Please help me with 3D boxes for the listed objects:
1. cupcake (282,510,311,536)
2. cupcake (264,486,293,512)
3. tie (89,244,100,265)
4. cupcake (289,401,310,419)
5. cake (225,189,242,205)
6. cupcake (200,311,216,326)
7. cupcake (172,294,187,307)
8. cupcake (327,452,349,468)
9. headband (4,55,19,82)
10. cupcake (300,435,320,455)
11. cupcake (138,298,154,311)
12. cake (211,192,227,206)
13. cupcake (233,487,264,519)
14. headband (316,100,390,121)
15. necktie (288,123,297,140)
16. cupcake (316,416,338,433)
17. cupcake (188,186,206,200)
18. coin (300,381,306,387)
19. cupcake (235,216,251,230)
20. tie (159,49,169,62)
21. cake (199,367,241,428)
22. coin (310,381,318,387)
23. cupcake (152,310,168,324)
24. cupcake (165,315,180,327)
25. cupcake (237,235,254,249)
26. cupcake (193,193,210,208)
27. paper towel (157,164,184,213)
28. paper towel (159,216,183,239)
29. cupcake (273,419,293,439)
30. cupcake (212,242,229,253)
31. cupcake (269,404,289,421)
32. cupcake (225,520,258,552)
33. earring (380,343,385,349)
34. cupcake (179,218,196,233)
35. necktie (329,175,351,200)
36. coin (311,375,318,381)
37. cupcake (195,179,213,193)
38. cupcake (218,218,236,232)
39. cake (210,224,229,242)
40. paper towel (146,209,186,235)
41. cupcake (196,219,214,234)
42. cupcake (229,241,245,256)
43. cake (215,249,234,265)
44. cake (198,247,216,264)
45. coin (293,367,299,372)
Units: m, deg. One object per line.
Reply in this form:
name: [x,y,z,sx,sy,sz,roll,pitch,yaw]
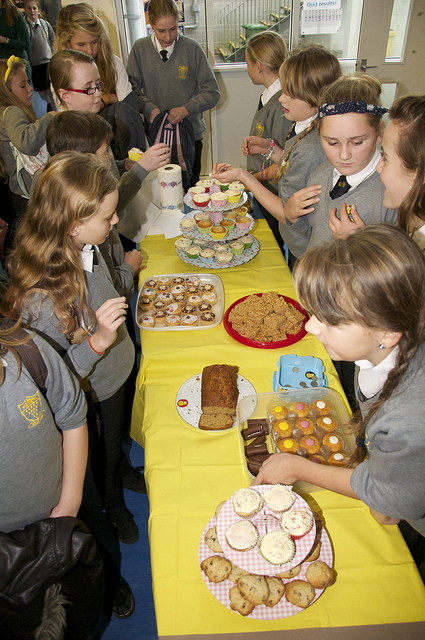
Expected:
cupcake: [0.219,0.529,1.212,0.073,0.018,0.063,5,33,7]
cupcake: [0.180,0.486,1.267,0.071,0.020,0.067,-14,35,-20]
tie: [-0.457,-0.248,1.806,0.039,0.056,0.020,-16,2,23]
cupcake: [0.303,0.304,1.611,0.062,0.023,0.069,-24,40,-33]
cake: [0.128,-0.760,2.878,0.093,0.064,0.098,-5,69,9]
cupcake: [-0.028,-0.011,2.226,0.057,0.055,0.060,-3,47,0]
cupcake: [-0.161,-0.107,2.344,0.058,0.038,0.060,21,46,9]
cupcake: [0.388,0.434,1.438,0.059,0.034,0.063,5,33,8]
headband: [-1.276,-1.603,2.949,0.074,0.127,0.311,-8,33,-11]
cupcake: [0.312,0.399,1.490,0.062,0.024,0.066,3,33,5]
cupcake: [-0.338,-0.081,2.351,0.077,0.038,0.070,-6,33,-9]
cake: [0.033,-0.746,2.799,0.083,0.043,0.083,-28,56,-15]
cupcake: [0.096,0.500,1.277,0.085,0.041,0.076,-11,34,-16]
headband: [0.544,-0.818,1.813,0.258,0.083,0.120,7,33,11]
necktie: [0.466,-1.086,2.684,0.036,0.051,0.022,8,28,3]
cupcake: [0.384,0.342,1.555,0.055,0.024,0.066,-27,41,-36]
cupcake: [-0.097,-0.804,2.937,0.082,0.033,0.093,-4,49,2]
coin: [0.356,0.250,1.827,0.012,0.003,0.013,-5,42,5]
cupcake: [0.179,-0.583,2.779,0.098,0.036,0.117,4,33,6]
tie: [-0.437,-2.393,4.181,0.056,0.080,0.020,3,42,6]
cake: [0.021,0.280,1.782,0.149,0.068,0.298,7,49,1]
coin: [0.398,0.248,1.825,0.030,0.004,0.029,0,33,0]
cupcake: [-0.263,-0.026,2.252,0.060,0.054,0.062,-5,45,-7]
cupcake: [-0.196,0.002,2.249,0.070,0.025,0.102,-2,33,-4]
cupcake: [0.204,-0.473,2.747,0.076,0.053,0.079,-9,48,3]
cupcake: [-0.071,-0.750,2.891,0.102,0.061,0.159,0,32,-1]
paper towel: [-0.286,-0.891,3.169,0.171,0.307,0.176,-6,37,-1]
paper towel: [-0.267,-0.603,3.013,0.158,0.038,0.159,-16,55,-11]
cupcake: [0.235,0.363,1.546,0.061,0.025,0.062,5,33,8]
cupcake: [0.048,-0.422,2.691,0.091,0.038,0.073,0,32,-1]
cupcake: [0.233,0.315,1.607,0.066,0.027,0.064,-16,36,-23]
cupcake: [0.076,0.565,1.213,0.079,0.025,0.072,-16,36,-23]
earring: [0.410,0.062,1.120,0.010,0.012,0.011,-8,53,18]
cupcake: [-0.149,-0.566,2.772,0.095,0.036,0.156,0,33,0]
necktie: [0.542,-0.566,1.977,0.026,0.104,0.097,-19,36,-27]
coin: [0.406,0.228,1.848,0.025,0.007,0.035,9,34,14]
cupcake: [-0.046,-0.894,3.071,0.094,0.043,0.112,-8,55,6]
cupcake: [0.082,-0.583,2.777,0.086,0.057,0.093,0,42,3]
cake: [0.029,-0.520,2.677,0.093,0.071,0.104,1,43,1]
paper towel: [-0.349,-0.658,3.106,0.235,0.010,0.197,-23,51,-17]
cupcake: [-0.043,-0.543,2.721,0.092,0.041,0.105,-1,32,-2]
cupcake: [0.138,-0.418,2.658,0.072,0.048,0.076,2,54,4]
cake: [0.065,-0.381,2.649,0.084,0.045,0.089,1,50,0]
cake: [-0.035,-0.372,2.639,0.083,0.061,0.088,-8,53,-2]
coin: [0.341,0.201,1.898,0.023,0.003,0.028,6,33,8]
